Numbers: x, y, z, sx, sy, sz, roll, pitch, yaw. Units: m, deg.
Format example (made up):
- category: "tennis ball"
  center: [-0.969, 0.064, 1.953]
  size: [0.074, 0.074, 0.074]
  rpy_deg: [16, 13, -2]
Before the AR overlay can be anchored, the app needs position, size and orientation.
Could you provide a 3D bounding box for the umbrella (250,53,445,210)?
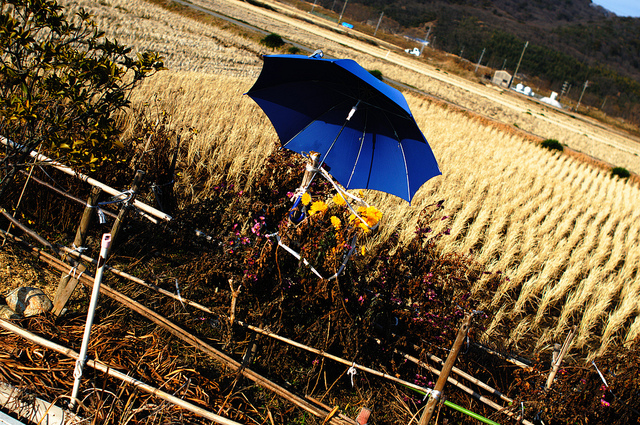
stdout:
- category: "umbrella"
  center: [0.306, -1.073, 9.251]
  size: [2.471, 2.656, 1.457]
  rpy_deg: [9, 61, 13]
